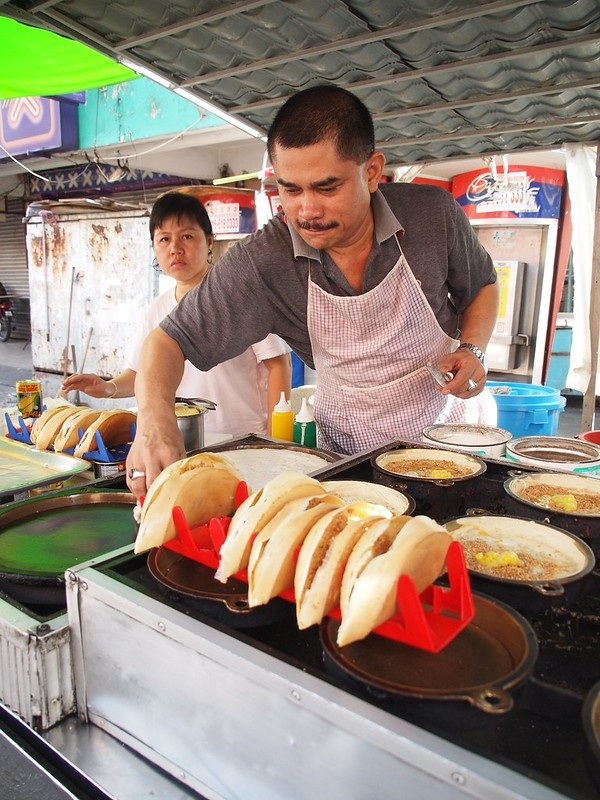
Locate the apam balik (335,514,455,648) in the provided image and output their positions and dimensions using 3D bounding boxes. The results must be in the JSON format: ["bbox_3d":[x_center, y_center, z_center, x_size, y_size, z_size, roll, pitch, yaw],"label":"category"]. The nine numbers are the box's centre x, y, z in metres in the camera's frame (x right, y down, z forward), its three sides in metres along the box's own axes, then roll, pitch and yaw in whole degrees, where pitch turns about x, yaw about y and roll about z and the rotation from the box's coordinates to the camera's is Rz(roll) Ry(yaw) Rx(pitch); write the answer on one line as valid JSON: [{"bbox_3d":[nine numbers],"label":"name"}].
[{"bbox_3d":[0.120,0.238,0.779,0.111,0.176,0.174,4,10,21],"label":"apam balik"}]

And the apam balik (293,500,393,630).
[{"bbox_3d":[0.094,0.208,0.798,0.056,0.161,0.129,24,-15,19],"label":"apam balik"}]

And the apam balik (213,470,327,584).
[{"bbox_3d":[-0.067,0.161,0.907,0.056,0.167,0.125,36,-29,17],"label":"apam balik"}]

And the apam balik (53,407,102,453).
[{"bbox_3d":[-0.759,0.102,2.137,0.114,0.170,0.054,14,-11,17],"label":"apam balik"}]

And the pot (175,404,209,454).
[{"bbox_3d":[-0.322,0.080,1.825,0.123,0.127,0.090,10,26,20],"label":"pot"}]

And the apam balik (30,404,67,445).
[{"bbox_3d":[-0.921,0.077,2.220,0.048,0.142,0.137,27,-12,-8],"label":"apam balik"}]

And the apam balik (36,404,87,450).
[{"bbox_3d":[-0.838,0.098,2.186,0.075,0.167,0.127,22,-13,-26],"label":"apam balik"}]

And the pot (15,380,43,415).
[{"bbox_3d":[-1.145,-0.006,2.621,0.090,0.147,0.266,-3,9,-23],"label":"pot"}]
